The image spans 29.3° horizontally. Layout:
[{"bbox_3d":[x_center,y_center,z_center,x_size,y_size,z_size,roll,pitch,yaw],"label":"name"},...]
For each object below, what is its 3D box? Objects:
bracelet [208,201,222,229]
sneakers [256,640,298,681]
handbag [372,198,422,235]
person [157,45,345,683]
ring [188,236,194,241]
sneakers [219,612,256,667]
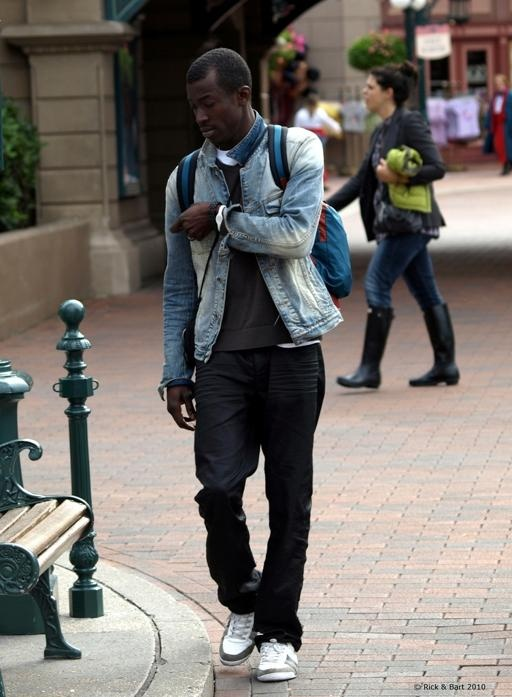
[{"bbox_3d":[-0.101,-0.350,2.563,0.027,0.057,0.048,2,-8,4],"label":"bracelet"},{"bbox_3d":[0.041,0.834,2.590,0.064,0.061,0.167,-1,-9,6],"label":"sneakers"},{"bbox_3d":[1.003,-0.901,6.814,0.509,0.220,0.333,-3,-3,9],"label":"handbag"},{"bbox_3d":[-0.039,0.062,2.665,0.533,1.734,0.431,-3,10,9],"label":"person"},{"bbox_3d":[-0.178,-0.296,2.613,0.012,0.013,0.013,1,-7,0],"label":"ring"},{"bbox_3d":[-0.048,0.816,2.761,0.070,0.071,0.182,5,32,9],"label":"sneakers"}]
